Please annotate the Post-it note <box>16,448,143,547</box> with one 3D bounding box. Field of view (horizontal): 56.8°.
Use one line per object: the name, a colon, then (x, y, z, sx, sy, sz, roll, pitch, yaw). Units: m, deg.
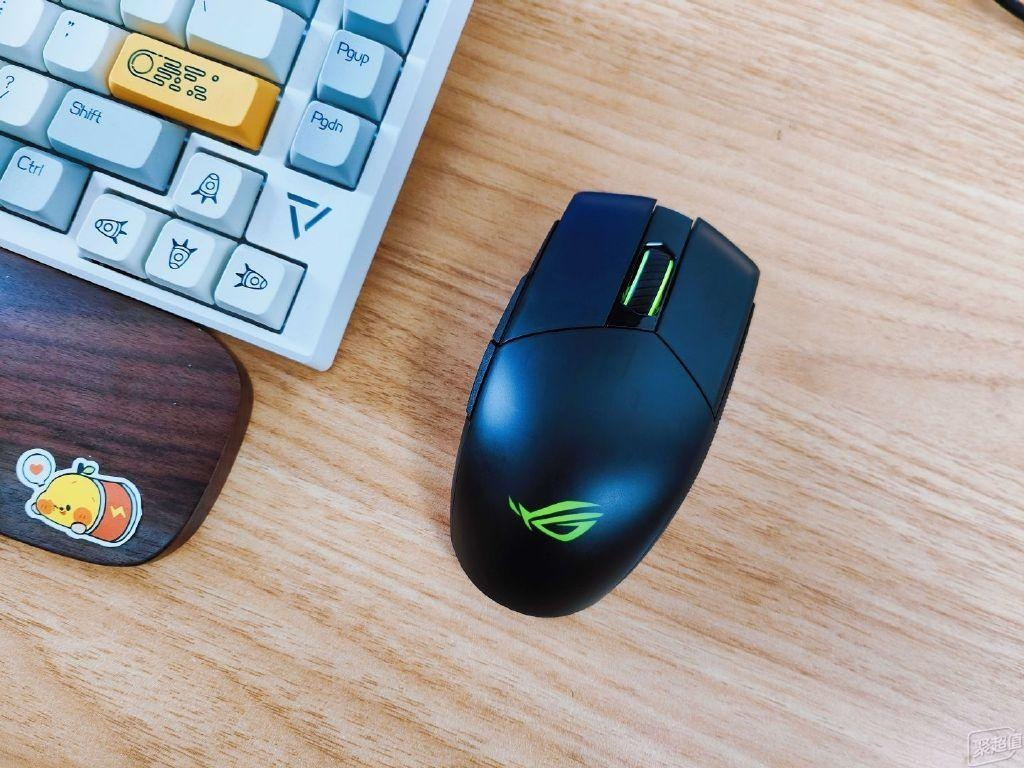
Post-it note: (-0.283, 0.072, 0.610, 0.093, 0.034, 0.041, 24, 47, -3)
